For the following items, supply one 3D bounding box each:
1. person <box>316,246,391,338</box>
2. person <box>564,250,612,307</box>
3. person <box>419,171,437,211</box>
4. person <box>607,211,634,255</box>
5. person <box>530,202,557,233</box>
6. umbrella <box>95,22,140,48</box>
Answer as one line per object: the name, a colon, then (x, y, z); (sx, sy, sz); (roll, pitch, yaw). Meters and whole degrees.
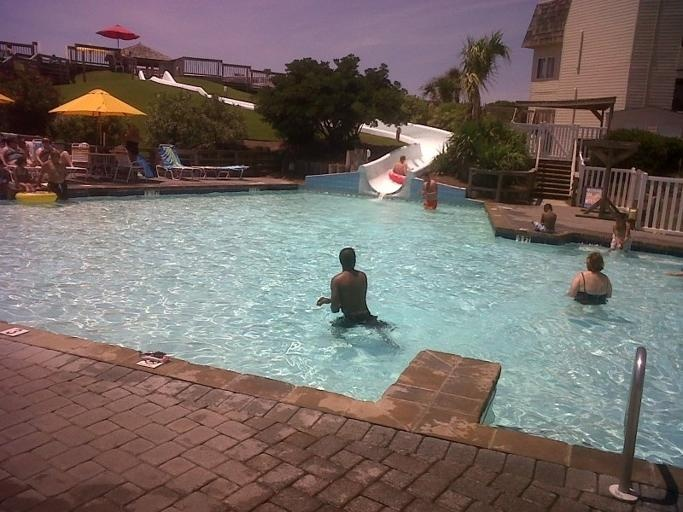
person: (0.206, 0.495, 6.494); (0.708, 1.308, 0.378); (-1, 17, 2)
person: (4.430, 0.373, 8.261); (0.640, 1.079, 0.474); (-11, 19, -29)
person: (3.453, -2.572, 18.177); (0.520, 1.369, 1.285); (2, 16, 14)
person: (7.508, -0.681, 12.387); (0.505, 1.036, 0.760); (7, 18, 28)
person: (5.800, -1.139, 13.187); (0.561, 0.775, 1.146); (4, 16, 22)
umbrella: (-16.940, -16.832, 34.970); (1.815, 1.347, 2.224); (0, 15, 5)
